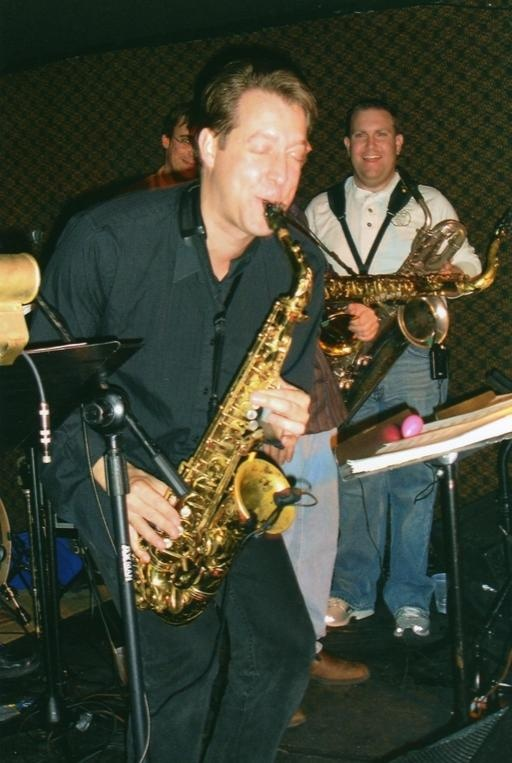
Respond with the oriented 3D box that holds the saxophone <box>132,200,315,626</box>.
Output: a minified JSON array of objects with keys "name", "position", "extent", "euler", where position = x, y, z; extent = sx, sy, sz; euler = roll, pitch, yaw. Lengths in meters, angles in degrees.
[{"name":"saxophone","position":[-0.144,0.071,2.139],"extent":[0.571,1.025,0.585],"euler":[1,20,-35]}]

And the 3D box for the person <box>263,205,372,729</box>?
[{"name":"person","position":[0.242,0.528,2.863],"extent":[0.599,1.571,0.574],"euler":[-4,20,-30]}]
